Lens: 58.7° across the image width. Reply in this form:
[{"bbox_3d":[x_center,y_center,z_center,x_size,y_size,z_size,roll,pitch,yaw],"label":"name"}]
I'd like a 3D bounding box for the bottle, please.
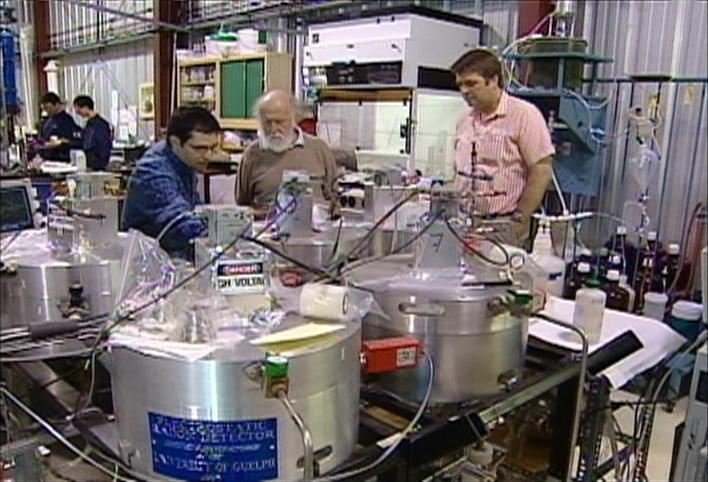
[{"bbox_3d":[1.414,0.233,3.302,0.453,0.688,0.219,4,24,12],"label":"bottle"}]

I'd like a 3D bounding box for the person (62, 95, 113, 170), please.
[{"bbox_3d":[-2.089,-0.896,5.070,0.254,0.631,1.038,-4,9,-23],"label":"person"}]

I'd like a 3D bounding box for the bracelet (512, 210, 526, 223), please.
[{"bbox_3d":[0.927,-0.137,3.569,0.075,0.025,0.079,1,37,7],"label":"bracelet"}]

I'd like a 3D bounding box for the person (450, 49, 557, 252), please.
[{"bbox_3d":[0.800,-0.528,3.467,0.583,1.114,0.911,2,9,14],"label":"person"}]
